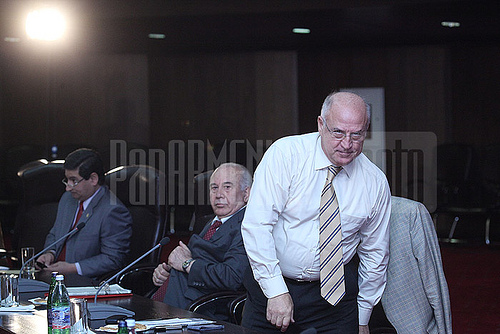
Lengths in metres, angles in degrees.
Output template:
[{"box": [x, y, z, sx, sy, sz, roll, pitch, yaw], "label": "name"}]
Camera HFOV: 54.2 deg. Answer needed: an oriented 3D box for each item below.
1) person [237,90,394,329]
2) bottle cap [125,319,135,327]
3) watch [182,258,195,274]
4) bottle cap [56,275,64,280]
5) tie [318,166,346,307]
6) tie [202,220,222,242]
[{"box": [0.405, 0.274, 2.707, 0.848, 1.355, 0.395, 0, -1, -28], "label": "person"}, {"box": [-0.531, 0.687, 2.140, 0.041, 0.035, 0.061, 0, -3, -19], "label": "bottle cap"}, {"box": [-0.437, 0.680, 3.399, 0.094, 0.062, 0.089, -34, -27, -11], "label": "watch"}, {"box": [-0.958, 0.554, 2.442, 0.026, 0.024, 0.027, 2, 0, -16], "label": "bottle cap"}, {"box": [0.447, 0.380, 2.700, 0.139, 0.767, 0.056, -1, -1, -1], "label": "tie"}, {"box": [-0.274, 0.456, 3.445, 0.038, 0.160, 0.086, 35, -2, -35], "label": "tie"}]
